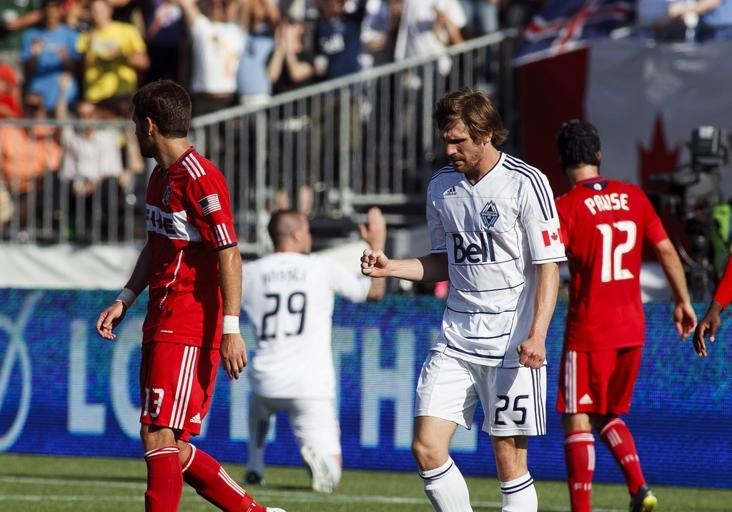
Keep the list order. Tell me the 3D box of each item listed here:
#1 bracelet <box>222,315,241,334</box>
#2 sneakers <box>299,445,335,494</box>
[{"bbox_3d":[-1.084,0.533,13.418,0.123,0.144,0.131,-1,-1,-7],"label":"bracelet"},{"bbox_3d":[-0.454,1.889,14.947,0.175,0.506,0.200,-18,-9,-28],"label":"sneakers"}]
